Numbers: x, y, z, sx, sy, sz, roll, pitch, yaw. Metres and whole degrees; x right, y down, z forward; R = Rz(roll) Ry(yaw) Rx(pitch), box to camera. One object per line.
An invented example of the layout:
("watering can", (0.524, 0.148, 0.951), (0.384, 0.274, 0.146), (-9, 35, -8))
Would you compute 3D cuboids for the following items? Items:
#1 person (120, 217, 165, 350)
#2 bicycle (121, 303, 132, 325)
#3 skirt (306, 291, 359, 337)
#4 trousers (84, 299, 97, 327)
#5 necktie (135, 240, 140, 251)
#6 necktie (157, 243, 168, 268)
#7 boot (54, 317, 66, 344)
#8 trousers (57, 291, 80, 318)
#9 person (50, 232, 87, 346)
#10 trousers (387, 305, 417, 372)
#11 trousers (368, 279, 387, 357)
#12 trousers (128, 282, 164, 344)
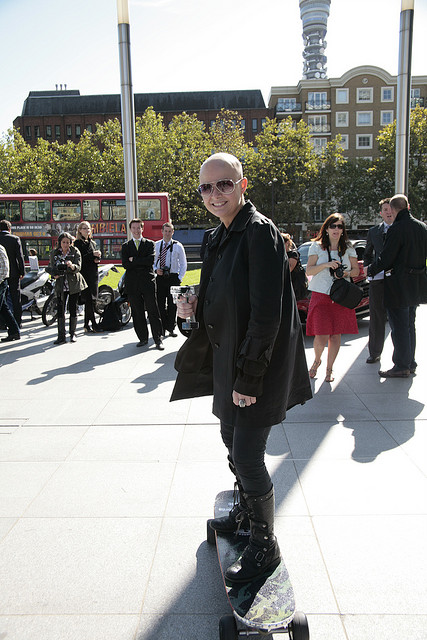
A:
("person", (-1.087, -0.553, 8.200), (0.567, 1.925, 0.624), (-2, 8, -7))
("bicycle", (-1.658, -0.115, 10.230), (0.363, 0.435, 0.111), (-5, 12, -38))
("skirt", (1.217, -0.022, 5.872), (0.651, 0.642, 0.410), (-1, 1, -4))
("trousers", (-2.223, -0.116, 9.705), (0.172, 0.483, 0.235), (-2, 8, -6))
("necktie", (-1.152, -1.134, 8.182), (0.073, 0.132, 0.066), (-1, 7, 3))
("necktie", (-0.837, -1.064, 8.950), (0.153, 0.386, 0.092), (-2, 8, -7))
("boot", (-2.462, 0.167, 8.649), (0.179, 0.410, 0.211), (-4, 8, -17))
("trousers", (-2.349, -0.223, 8.748), (0.312, 0.451, 0.158), (3, -1, -6))
("person", (-2.382, -0.522, 8.773), (0.509, 1.744, 0.760), (-1, 7, 0))
("trousers", (2.117, 0.209, 6.065), (0.291, 0.729, 0.559), (2, 8, 25))
("trousers", (2.007, -0.011, 6.627), (0.189, 0.966, 0.272), (1, 8, 16))
("trousers", (-0.983, -0.091, 8.304), (0.544, 0.965, 0.644), (-5, 8, -24))
